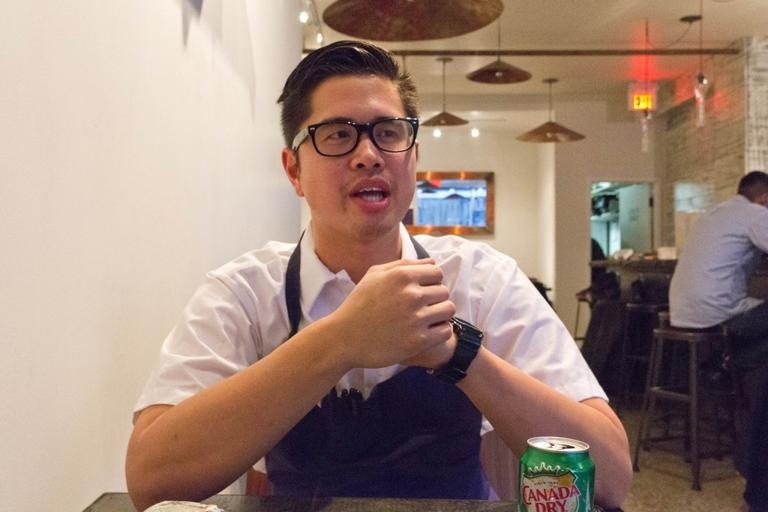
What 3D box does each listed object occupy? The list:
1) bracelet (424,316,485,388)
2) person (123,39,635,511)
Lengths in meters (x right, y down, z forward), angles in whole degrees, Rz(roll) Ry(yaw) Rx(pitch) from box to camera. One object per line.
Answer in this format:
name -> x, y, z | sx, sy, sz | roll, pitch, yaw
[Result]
bracelet -> 0.195, 0.282, 1.830 | 0.168, 0.117, 0.168 | -49, 7, 48
person -> -0.052, 0.055, 1.890 | 1.327, 1.378, 0.521 | -3, 7, -4
